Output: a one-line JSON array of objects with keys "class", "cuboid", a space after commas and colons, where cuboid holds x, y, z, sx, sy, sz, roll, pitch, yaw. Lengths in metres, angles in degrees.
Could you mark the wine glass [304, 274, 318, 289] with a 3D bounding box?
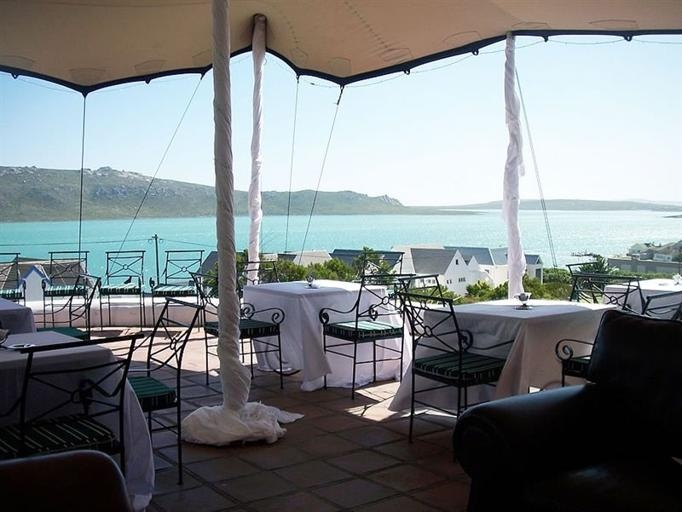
[{"class": "wine glass", "cuboid": [-0.272, 0.235, 4.634, 0.109, 0.105, 0.109, -4, 7, -14]}]
